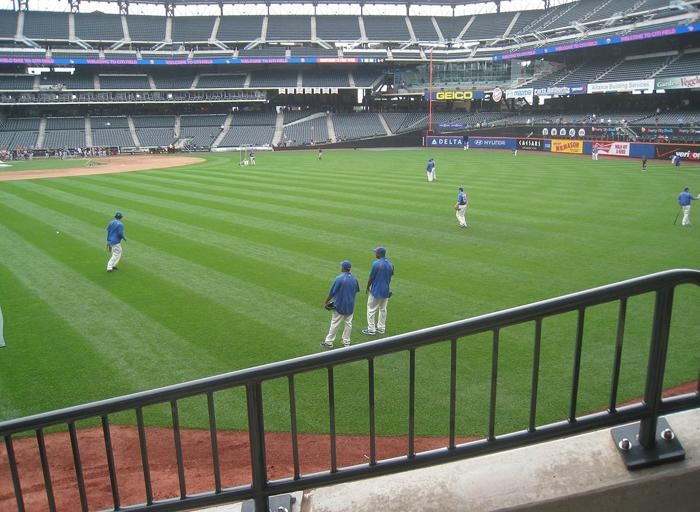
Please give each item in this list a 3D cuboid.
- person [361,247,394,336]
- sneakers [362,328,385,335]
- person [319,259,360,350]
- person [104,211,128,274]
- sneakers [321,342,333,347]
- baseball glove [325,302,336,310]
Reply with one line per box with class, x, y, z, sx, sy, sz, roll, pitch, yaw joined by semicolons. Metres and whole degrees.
person;0.567;0.675;14.131;0.624;1.718;1.174;-1;13;1
sneakers;0.476;1.558;13.956;0.426;0.129;0.150;5;6;29
person;-0.191;0.889;13.613;0.739;1.618;1.571;-2;12;0
person;-6.465;-0.420;18.920;0.537;1.528;1.487;-6;13;-19
sneakers;-0.439;1.713;13.247;0.196;0.071;0.084;13;12;40
baseball glove;-0.371;0.974;13.108;0.181;0.122;0.127;11;9;16
